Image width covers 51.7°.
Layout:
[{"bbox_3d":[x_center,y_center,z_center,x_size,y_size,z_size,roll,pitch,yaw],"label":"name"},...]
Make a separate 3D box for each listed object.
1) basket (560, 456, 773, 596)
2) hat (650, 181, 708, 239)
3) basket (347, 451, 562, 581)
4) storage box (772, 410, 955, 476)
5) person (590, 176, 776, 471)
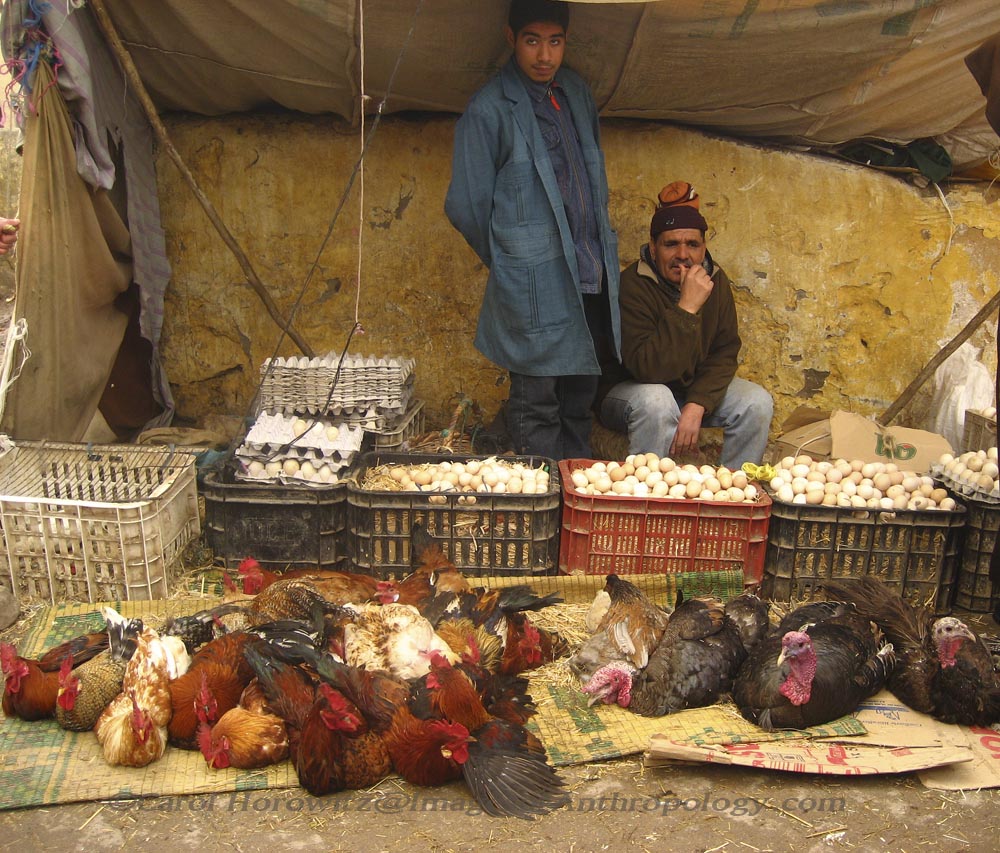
[{"bbox_3d":[0.789,0.541,5.137,1.019,0.475,0.786,0,16,-3],"label":"basket"},{"bbox_3d":[1.060,-1.286,6.120,0.254,0.278,0.361,-7,12,4],"label":"hat"},{"bbox_3d":[-0.312,0.333,5.543,1.140,0.544,0.815,0,15,-16],"label":"basket"},{"bbox_3d":[2.054,0.093,5.757,0.582,0.226,0.450,12,6,9],"label":"storage box"},{"bbox_3d":[1.108,-0.541,6.235,0.934,1.778,0.949,1,17,0],"label":"person"}]
